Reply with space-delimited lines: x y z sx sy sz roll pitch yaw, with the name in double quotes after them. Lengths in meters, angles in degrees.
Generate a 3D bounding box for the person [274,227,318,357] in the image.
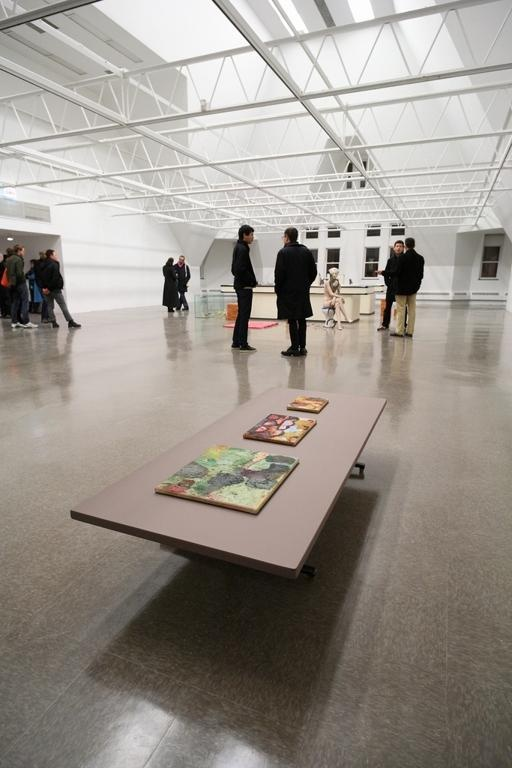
0.565 -1.327 6.805 0.557 1.842 0.771 3 12 14 "person"

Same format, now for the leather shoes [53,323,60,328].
-5.002 -1.449 11.630 0.128 0.136 0.130 0 23 2 "leather shoes"

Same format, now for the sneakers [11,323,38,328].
-5.665 -1.423 11.322 0.523 0.216 0.179 -1 8 2 "sneakers"

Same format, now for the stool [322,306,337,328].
1.852 -1.657 11.263 0.301 0.565 0.489 1 13 23 "stool"

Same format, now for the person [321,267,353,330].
1.954 -2.075 11.294 0.622 1.370 1.956 2 12 12 "person"

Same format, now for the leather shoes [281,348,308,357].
0.577 -0.509 6.999 0.386 0.176 0.152 4 14 10 "leather shoes"
